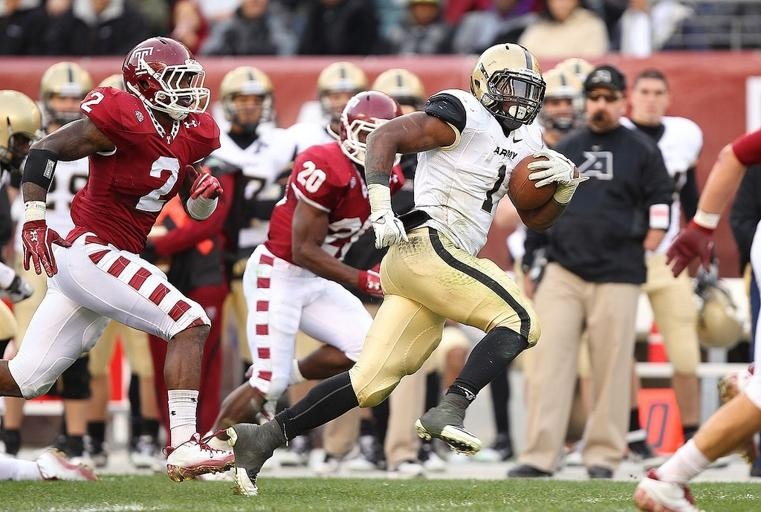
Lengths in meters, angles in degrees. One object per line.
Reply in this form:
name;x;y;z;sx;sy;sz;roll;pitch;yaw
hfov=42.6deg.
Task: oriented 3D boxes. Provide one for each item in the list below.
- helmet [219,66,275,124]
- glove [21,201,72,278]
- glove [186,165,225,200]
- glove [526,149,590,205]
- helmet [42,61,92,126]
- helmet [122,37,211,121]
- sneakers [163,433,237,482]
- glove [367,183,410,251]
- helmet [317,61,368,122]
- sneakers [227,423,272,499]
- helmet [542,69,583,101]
helmet;-1.027;-1.245;7.612;0.343;0.369;0.451;-1;1;-16
glove;-1.744;-0.079;5.128;0.260;0.359;0.118;-5;-7;12
glove;-0.995;-0.408;5.541;0.186;0.196;0.345;3;-2;-12
glove;0.965;-0.424;5.303;0.303;0.238;0.144;-9;-10;-1
helmet;-2.368;-1.248;7.697;0.376;0.511;0.501;4;-2;-14
helmet;-1.111;-0.972;5.417;0.468;0.428;0.371;6;5;17
sneakers;-0.968;1.094;5.333;0.474;0.270;0.175;-4;-4;-11
glove;0.028;-0.191;5.012;0.097;0.284;0.280;-14;-51;15
helmet;-0.312;-1.288;7.738;0.386;0.454;0.498;0;3;-7
sneakers;-0.703;1.098;5.291;0.250;0.396;0.156;3;-3;-9
helmet;1.411;-1.307;7.383;0.307;0.181;0.451;0;4;4
